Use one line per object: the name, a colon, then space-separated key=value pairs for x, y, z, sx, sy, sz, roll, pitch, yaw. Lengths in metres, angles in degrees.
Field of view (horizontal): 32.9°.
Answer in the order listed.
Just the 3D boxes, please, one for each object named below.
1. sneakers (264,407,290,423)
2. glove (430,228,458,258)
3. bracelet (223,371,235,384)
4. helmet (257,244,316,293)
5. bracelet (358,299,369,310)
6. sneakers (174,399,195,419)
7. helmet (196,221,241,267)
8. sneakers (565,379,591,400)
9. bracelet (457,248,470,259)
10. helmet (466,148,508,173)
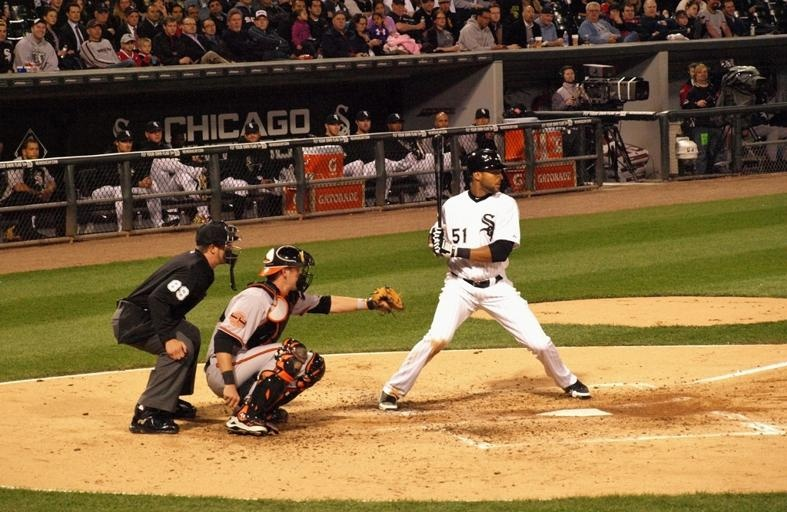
sneakers: x=-1.294 y=1.819 z=15.129 sx=0.224 sy=0.150 sz=0.084 roll=-7 pitch=30 yaw=-11
glove: x=0.579 y=-0.150 z=15.180 sx=0.352 sy=0.372 sz=0.254 roll=-3 pitch=4 yaw=22
bracelet: x=-1.790 y=1.345 z=14.599 sx=0.134 sy=0.130 sz=0.137 roll=-3 pitch=-4 yaw=6
helmet: x=-1.221 y=0.132 z=14.929 sx=0.646 sy=0.471 sz=0.462 roll=-7 pitch=11 yaw=-10
bracelet: x=-0.339 y=0.569 z=15.293 sx=0.135 sy=0.106 sz=0.109 roll=-2 pitch=3 yaw=10
sneakers: x=-2.368 y=1.782 z=15.271 sx=0.139 sy=0.133 sz=0.328 roll=2 pitch=4 yaw=-4
helmet: x=-1.950 y=-0.176 z=15.085 sx=0.568 sy=0.494 sz=0.432 roll=-13 pitch=20 yaw=-17
sneakers: x=2.148 y=1.566 z=15.387 sx=0.347 sy=0.151 sz=0.173 roll=-2 pitch=10 yaw=22
bracelet: x=0.795 y=-0.020 z=15.041 sx=0.162 sy=0.121 sz=0.031 roll=-5 pitch=4 yaw=-1
helmet: x=1.043 y=-1.082 z=15.209 sx=0.371 sy=0.166 sz=0.265 roll=-1 pitch=9 yaw=13
